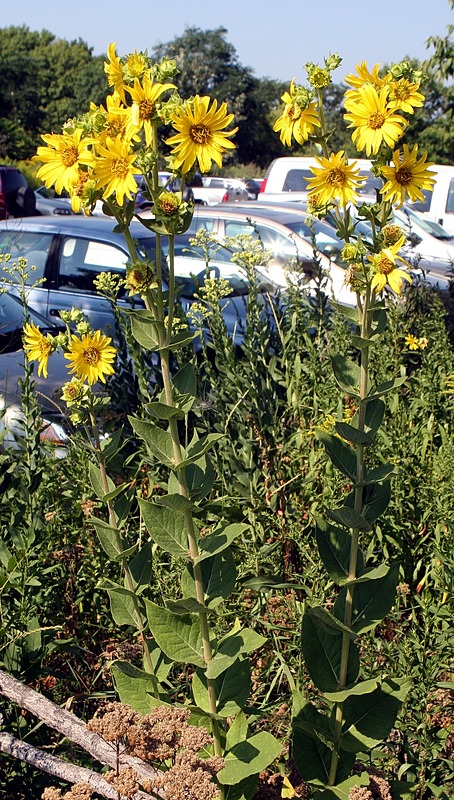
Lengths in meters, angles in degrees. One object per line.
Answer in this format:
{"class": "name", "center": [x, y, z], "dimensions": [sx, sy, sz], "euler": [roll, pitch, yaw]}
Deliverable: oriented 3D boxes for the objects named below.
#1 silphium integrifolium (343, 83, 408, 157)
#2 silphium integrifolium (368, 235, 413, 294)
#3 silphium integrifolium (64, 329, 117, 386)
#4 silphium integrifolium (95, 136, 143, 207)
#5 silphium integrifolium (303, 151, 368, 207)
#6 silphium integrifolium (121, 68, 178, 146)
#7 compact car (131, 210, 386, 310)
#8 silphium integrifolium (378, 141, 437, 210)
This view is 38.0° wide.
{"class": "silphium integrifolium", "center": [0.320, -0.612, 1.443], "dimensions": [0.135, 0.159, 0.225], "euler": [5, 7, 10]}
{"class": "silphium integrifolium", "center": [0.373, -0.323, 1.546], "dimensions": [0.086, 0.157, 0.227], "euler": [6, 7, 11]}
{"class": "silphium integrifolium", "center": [-0.404, -0.124, 1.992], "dimensions": [0.136, 0.176, 0.191], "euler": [5, 7, 7]}
{"class": "silphium integrifolium", "center": [-0.224, -0.454, 1.321], "dimensions": [0.085, 0.127, 0.199], "euler": [3, 7, -11]}
{"class": "silphium integrifolium", "center": [0.247, -0.501, 1.500], "dimensions": [0.121, 0.134, 0.164], "euler": [5, 7, 7]}
{"class": "silphium integrifolium", "center": [-0.150, -0.558, 1.255], "dimensions": [0.084, 0.137, 0.223], "euler": [3, 7, -10]}
{"class": "compact car", "center": [0.501, -1.538, 6.413], "dimensions": [2.616, 0.965, 1.304], "euler": [9, 12, 27]}
{"class": "silphium integrifolium", "center": [0.406, -0.542, 1.489], "dimensions": [0.156, 0.150, 0.066], "euler": [2, 42, 10]}
